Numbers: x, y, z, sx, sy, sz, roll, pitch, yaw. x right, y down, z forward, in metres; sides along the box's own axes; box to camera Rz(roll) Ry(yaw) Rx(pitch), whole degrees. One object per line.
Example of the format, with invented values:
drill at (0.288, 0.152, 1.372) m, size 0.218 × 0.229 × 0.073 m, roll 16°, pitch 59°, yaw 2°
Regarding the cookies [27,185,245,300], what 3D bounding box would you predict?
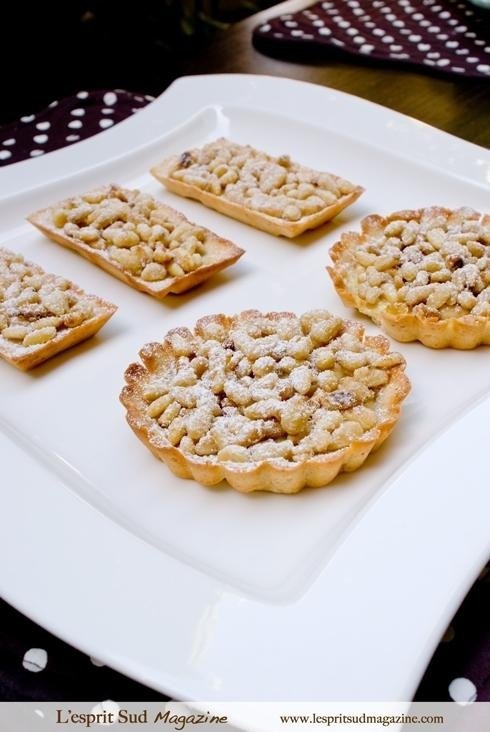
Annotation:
cookies at (-0.188, -0.225, 1.202) m, size 0.336 × 0.084 × 0.208 m, roll 31°, pitch 45°, yaw 29°
